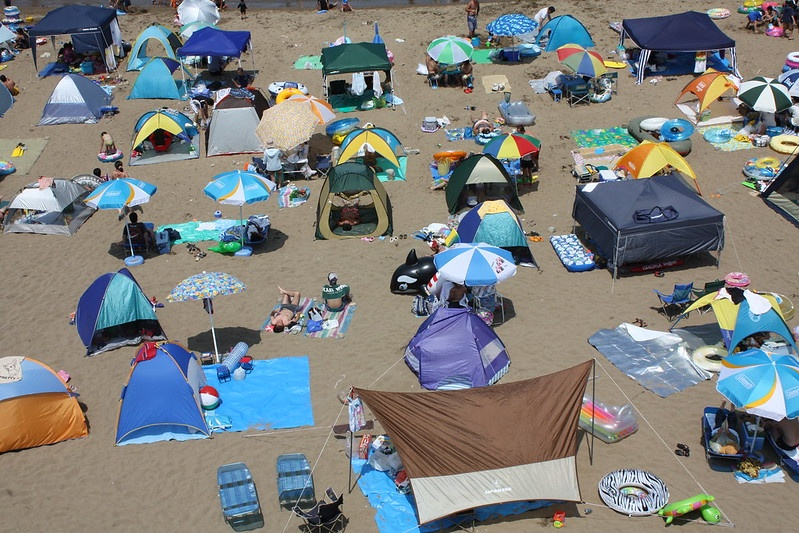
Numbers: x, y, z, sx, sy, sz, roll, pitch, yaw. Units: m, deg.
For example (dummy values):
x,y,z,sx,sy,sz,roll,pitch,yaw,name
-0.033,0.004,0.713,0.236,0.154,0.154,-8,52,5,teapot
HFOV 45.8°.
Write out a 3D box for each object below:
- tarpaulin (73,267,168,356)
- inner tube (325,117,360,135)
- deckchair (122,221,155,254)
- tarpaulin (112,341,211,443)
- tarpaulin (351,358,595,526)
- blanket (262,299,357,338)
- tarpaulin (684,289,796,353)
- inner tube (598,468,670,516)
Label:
x,y,z,sx,sy,sz,roll,pitch,yaw,name
-9.340,1.730,31.186,2.794,1.792,2.784,-22,48,-23,tarpaulin
-2.374,-5.808,39.266,1.289,0.455,0.692,-24,45,-5,inner tube
-9.428,-0.969,34.167,0.932,1.090,1.242,0,48,-8,deckchair
-7.335,3.688,29.353,2.536,2.171,3.149,-1,44,-8,tarpaulin
2.499,5.058,26.799,5.600,2.023,3.037,-7,42,-3,tarpaulin
-2.512,1.741,31.571,1.881,0.271,1.707,7,44,12,blanket
10.636,1.539,29.019,2.260,1.152,2.290,-9,42,-10,tarpaulin
6.682,6.546,27.008,1.880,0.493,1.252,1,43,6,inner tube
